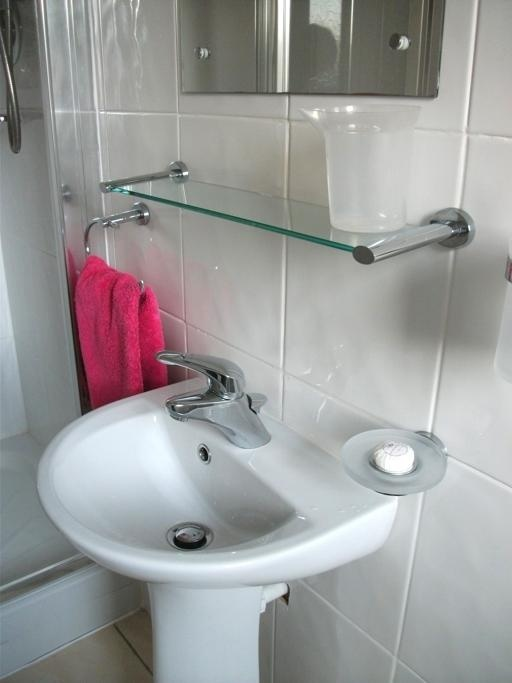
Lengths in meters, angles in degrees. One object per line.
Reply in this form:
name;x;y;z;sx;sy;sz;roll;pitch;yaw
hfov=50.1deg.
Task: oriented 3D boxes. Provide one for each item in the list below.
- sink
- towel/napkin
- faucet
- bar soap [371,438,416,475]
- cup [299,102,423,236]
sink;-0.067;0.218;0.706;0.313;0.147;0.370;-19;30;-34
towel/napkin;-0.267;-0.023;1.101;0.093;0.317;0.268;-17;23;-30
faucet;-0.073;0.091;0.857;0.164;0.103;0.126;20;26;30
bar soap;0.152;0.131;0.606;0.035;0.014;0.035;-19;27;-32
cup;0.102;-0.177;0.545;0.106;0.122;0.124;-15;26;-27
